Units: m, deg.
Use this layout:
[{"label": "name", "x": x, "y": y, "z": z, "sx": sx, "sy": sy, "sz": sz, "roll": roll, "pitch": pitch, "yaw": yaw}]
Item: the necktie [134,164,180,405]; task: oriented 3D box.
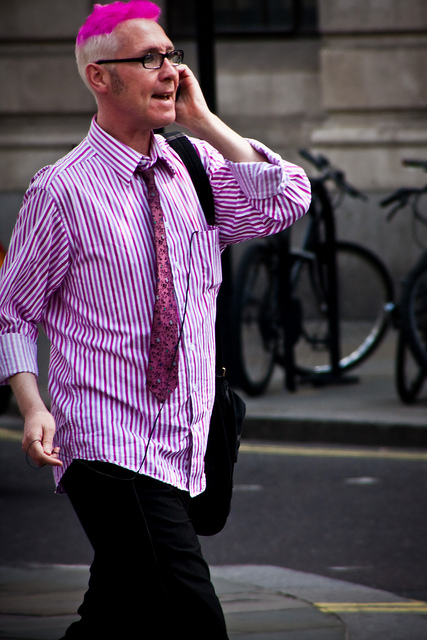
[{"label": "necktie", "x": -0.124, "y": -0.041, "z": 2.330, "sx": 0.082, "sy": 0.432, "sz": 0.055, "roll": 3, "pitch": -4, "yaw": -22}]

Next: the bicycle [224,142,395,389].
[{"label": "bicycle", "x": 0.522, "y": -0.078, "z": 5.782, "sx": 0.777, "sy": 0.838, "sz": 1.446, "roll": 1, "pitch": 10, "yaw": 25}]

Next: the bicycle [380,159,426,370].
[{"label": "bicycle", "x": 0.936, "y": -0.307, "z": 4.893, "sx": 0.205, "sy": 0.926, "sz": 1.019, "roll": -5, "pitch": 6, "yaw": 7}]
